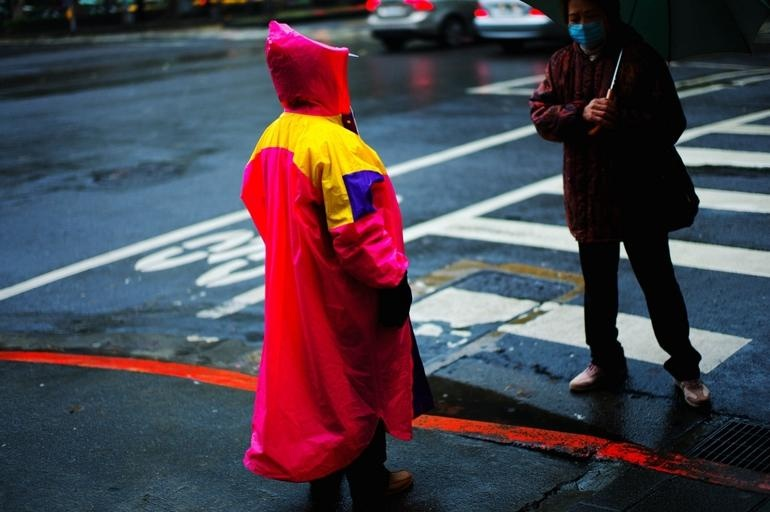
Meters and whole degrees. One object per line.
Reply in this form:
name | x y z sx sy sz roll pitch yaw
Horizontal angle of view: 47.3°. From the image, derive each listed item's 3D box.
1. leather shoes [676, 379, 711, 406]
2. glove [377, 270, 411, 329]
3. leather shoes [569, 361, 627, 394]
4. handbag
leather shoes | 2.265 1.003 6.442 0.156 0.097 0.246 -20 4 3
glove | 0.049 0.276 5.553 0.241 0.353 0.300 -6 23 -18
leather shoes | 1.614 0.953 6.752 0.565 0.187 0.176 -9 39 2
handbag | 1.842 -0.511 6.337 0.955 0.727 0.501 -5 11 24
